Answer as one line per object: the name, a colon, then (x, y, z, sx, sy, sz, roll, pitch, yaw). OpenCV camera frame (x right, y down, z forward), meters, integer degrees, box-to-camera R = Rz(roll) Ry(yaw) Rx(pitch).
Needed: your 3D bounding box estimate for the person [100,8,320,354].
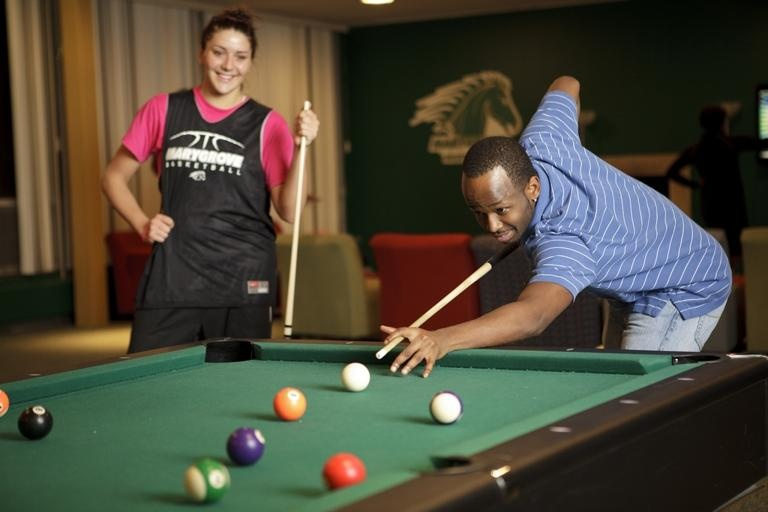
person: (-0.695, -0.313, 2.814, 0.884, 1.345, 0.487, -5, 8, -11)

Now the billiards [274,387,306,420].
billiards: (-0.246, 0.404, 1.902, 0.080, 0.075, 0.080, 23, 29, -12)

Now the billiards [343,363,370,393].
billiards: (-0.082, 0.361, 2.112, 0.076, 0.078, 0.089, -17, 2, 15)

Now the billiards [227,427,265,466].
billiards: (-0.311, 0.431, 1.624, 0.082, 0.096, 0.077, 7, 0, -35)

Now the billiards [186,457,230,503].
billiards: (-0.362, 0.460, 1.475, 0.097, 0.076, 0.108, 1, 4, -16)
